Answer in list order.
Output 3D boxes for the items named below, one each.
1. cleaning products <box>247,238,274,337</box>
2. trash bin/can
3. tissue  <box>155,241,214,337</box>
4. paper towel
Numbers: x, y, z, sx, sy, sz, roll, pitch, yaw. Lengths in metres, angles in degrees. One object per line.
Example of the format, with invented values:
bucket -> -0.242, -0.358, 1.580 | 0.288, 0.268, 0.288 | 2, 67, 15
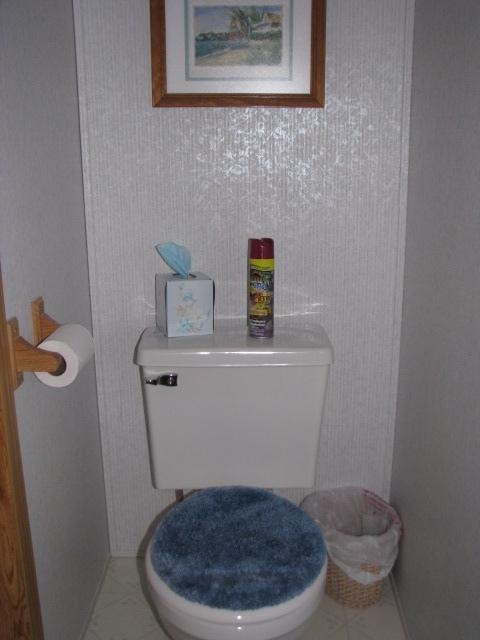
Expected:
cleaning products -> 0.053, -0.075, 1.235 | 0.060, 0.229, 0.060 | -1, 3, -20
trash bin/can -> 0.293, 0.595, 1.396 | 0.208, 0.221, 0.239 | -3, 11, -22
tissue  -> -0.129, -0.075, 1.250 | 0.138, 0.198, 0.133 | 1, 13, -8
paper towel -> -0.295, 0.067, 0.981 | 0.104, 0.104, 0.125 | 18, 12, -10
